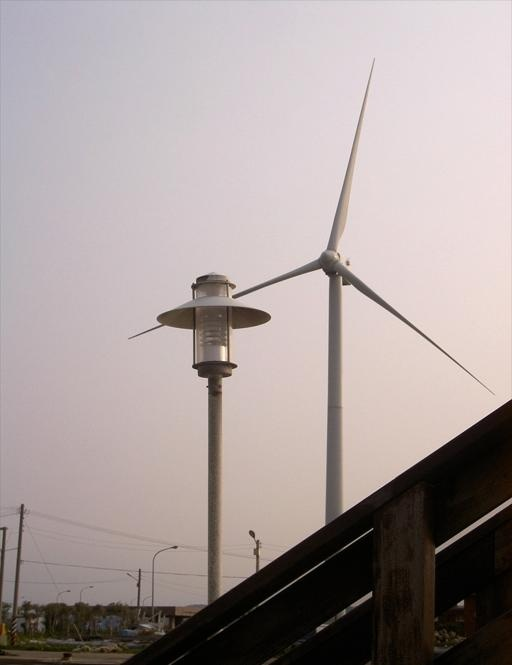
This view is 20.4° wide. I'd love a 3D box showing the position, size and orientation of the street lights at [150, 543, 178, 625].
[{"bbox_3d":[-2.198,6.043,34.053,0.693,0.477,2.430,-4,-54,-12],"label":"street lights"}]
